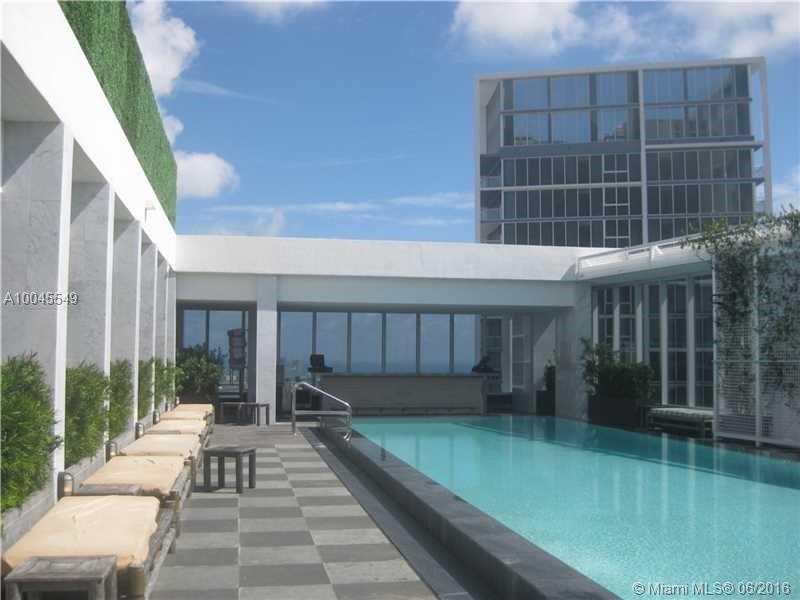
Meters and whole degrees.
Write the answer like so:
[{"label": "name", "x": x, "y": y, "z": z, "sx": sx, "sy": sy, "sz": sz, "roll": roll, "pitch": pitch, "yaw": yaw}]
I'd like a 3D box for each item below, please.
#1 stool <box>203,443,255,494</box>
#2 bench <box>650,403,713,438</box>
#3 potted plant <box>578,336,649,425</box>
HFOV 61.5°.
[{"label": "stool", "x": -2.169, "y": 2.037, "z": 8.443, "sx": 0.604, "sy": 0.626, "sz": 0.642, "roll": 0, "pitch": -5, "yaw": 1}, {"label": "bench", "x": 6.049, "y": 2.629, "z": 14.530, "sx": 0.580, "sy": 0.492, "sz": 1.824, "roll": -2, "pitch": -5, "yaw": -7}, {"label": "potted plant", "x": 5.306, "y": 2.024, "z": 16.676, "sx": 1.105, "sy": 2.023, "sz": 2.341, "roll": -2, "pitch": -5, "yaw": -3}]
